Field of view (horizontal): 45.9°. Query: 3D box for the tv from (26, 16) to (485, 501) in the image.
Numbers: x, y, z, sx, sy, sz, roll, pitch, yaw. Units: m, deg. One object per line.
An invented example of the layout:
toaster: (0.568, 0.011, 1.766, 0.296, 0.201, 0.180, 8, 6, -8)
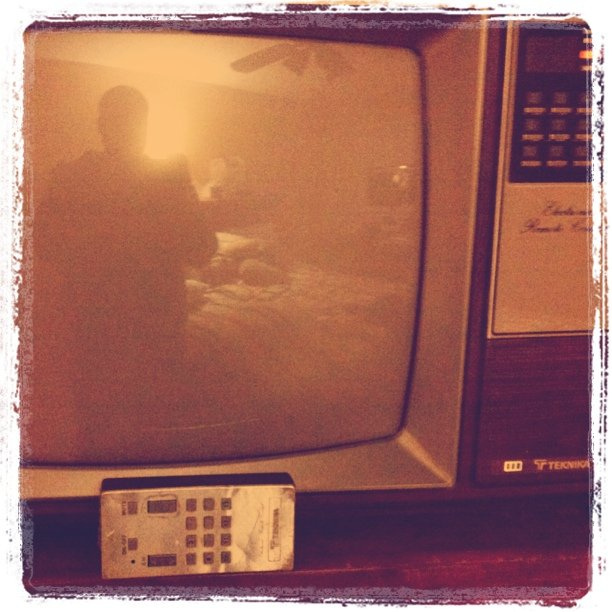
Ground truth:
tv: (-0.090, -0.093, 1.035, 0.787, 0.360, 0.635, -1, -80, -7)

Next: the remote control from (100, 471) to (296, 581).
remote control: (-0.170, 0.332, 1.081, 0.344, 0.157, 0.044, 14, -30, -38)
